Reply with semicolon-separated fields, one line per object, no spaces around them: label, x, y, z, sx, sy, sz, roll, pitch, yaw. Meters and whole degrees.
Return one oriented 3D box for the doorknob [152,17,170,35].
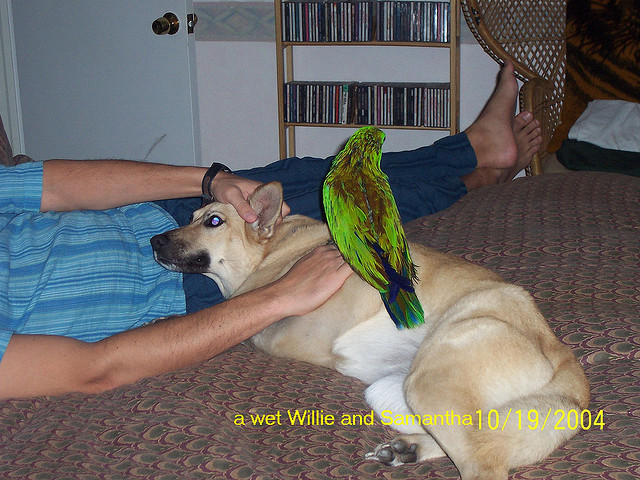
doorknob;-0.881;-1.287;3.591;0.102;0.089;0.102;-15;20;7

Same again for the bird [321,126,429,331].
bird;0.120;0.002;1.354;0.186;0.484;0.246;-5;26;4

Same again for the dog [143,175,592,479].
dog;0.040;0.251;2.011;1.554;0.670;0.713;18;17;21

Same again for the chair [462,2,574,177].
chair;1.219;-1.024;3.854;0.602;1.004;1.069;2;26;17
